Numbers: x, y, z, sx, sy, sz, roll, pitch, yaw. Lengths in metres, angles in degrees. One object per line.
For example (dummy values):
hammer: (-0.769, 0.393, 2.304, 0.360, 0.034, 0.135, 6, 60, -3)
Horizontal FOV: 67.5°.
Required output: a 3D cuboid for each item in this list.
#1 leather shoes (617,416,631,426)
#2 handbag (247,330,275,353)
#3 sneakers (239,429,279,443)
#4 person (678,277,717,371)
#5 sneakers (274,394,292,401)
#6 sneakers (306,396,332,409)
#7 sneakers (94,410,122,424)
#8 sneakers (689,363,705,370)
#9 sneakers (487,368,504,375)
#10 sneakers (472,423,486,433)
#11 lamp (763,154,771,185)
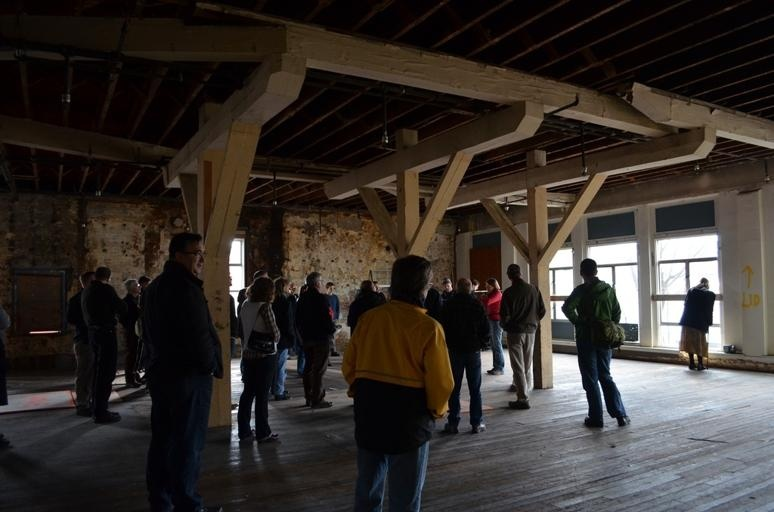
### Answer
leather shoes: (3.205, 2.235, 7.862, 0.085, 0.104, 0.219, -2, -3, 44)
handbag: (-1.547, 1.063, 7.112, 0.339, 0.290, 0.096, 1, -4, -14)
sneakers: (-1.645, 2.329, 7.473, 0.517, 0.213, 0.180, -3, -9, 3)
person: (6.253, 1.373, 11.762, 0.386, 1.822, 0.630, 1, -4, -17)
sneakers: (-1.718, 2.308, 9.481, 0.233, 0.102, 0.095, -1, -4, -9)
sneakers: (-1.062, 2.262, 8.945, 0.412, 0.184, 0.147, 0, -6, -13)
sneakers: (-3.959, 2.297, 8.228, 0.282, 0.104, 0.166, 2, -1, -39)
sneakers: (6.198, 2.226, 11.629, 0.269, 0.111, 0.303, -2, -4, 29)
sneakers: (2.144, 2.302, 11.496, 0.270, 0.119, 0.127, 2, -12, 4)
sneakers: (1.216, 2.288, 7.703, 0.094, 0.083, 0.219, 0, -8, -21)
lamp: (7.660, -1.738, 11.731, 0.136, 0.520, 0.168, 1, -4, -6)
